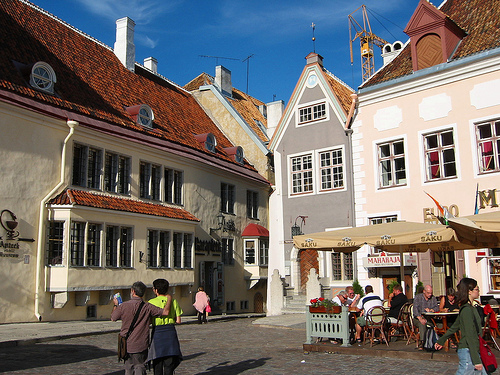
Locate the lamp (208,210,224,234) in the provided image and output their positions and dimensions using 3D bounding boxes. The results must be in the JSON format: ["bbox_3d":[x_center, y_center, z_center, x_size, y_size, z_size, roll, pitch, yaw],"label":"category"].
[{"bbox_3d":[-1.961,2.155,32.196,0.290,1.514,1.228,-10,-16,32],"label":"lamp"}]

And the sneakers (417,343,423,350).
[{"bbox_3d":[4.949,4.654,15.412,0.125,0.182,0.430,-7,-18,18],"label":"sneakers"}]

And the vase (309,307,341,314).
[{"bbox_3d":[2.361,3.874,16.731,1.184,0.256,0.136,-15,-19,38],"label":"vase"}]

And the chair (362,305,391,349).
[{"bbox_3d":[3.957,4.401,16.791,0.775,1.175,1.654,-5,-15,11],"label":"chair"}]

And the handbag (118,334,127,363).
[{"bbox_3d":[-2.761,3.467,11.396,0.188,0.587,0.426,1,-7,-13],"label":"handbag"}]
